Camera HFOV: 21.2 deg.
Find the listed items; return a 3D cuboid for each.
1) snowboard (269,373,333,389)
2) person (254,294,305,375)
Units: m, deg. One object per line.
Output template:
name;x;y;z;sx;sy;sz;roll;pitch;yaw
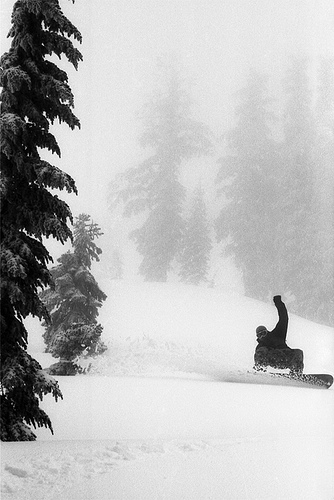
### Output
snowboard;1.930;1.980;12.901;0.872;0.328;0.064;9;-54;-3
person;1.627;1.363;13.094;0.661;0.541;1.351;21;-38;24
